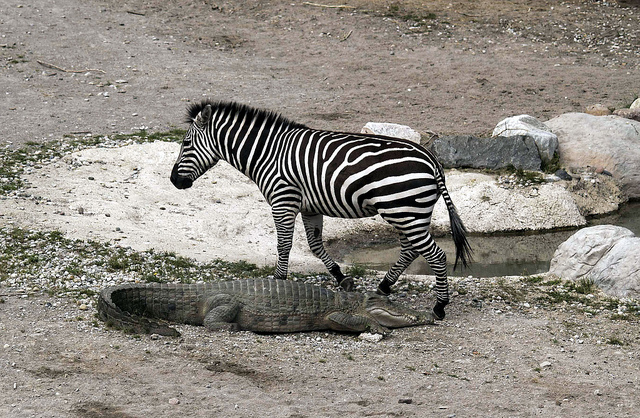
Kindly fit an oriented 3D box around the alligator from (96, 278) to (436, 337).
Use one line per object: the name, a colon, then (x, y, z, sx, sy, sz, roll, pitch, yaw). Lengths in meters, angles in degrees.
alligator: (-1.249, 1.925, 19.138, 5.964, 0.808, 0.983, 0, 30, -6)
